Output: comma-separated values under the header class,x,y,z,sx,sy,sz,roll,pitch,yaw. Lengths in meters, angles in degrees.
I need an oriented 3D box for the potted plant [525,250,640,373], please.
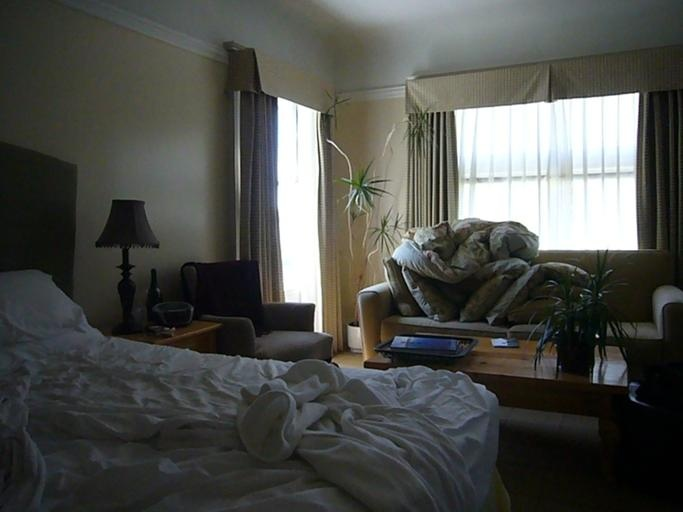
class,x,y,z,sx,sy,sz,roll,pitch,yaw
potted plant,1.355,0.321,2.969,0.435,0.613,0.447,2,-6,28
